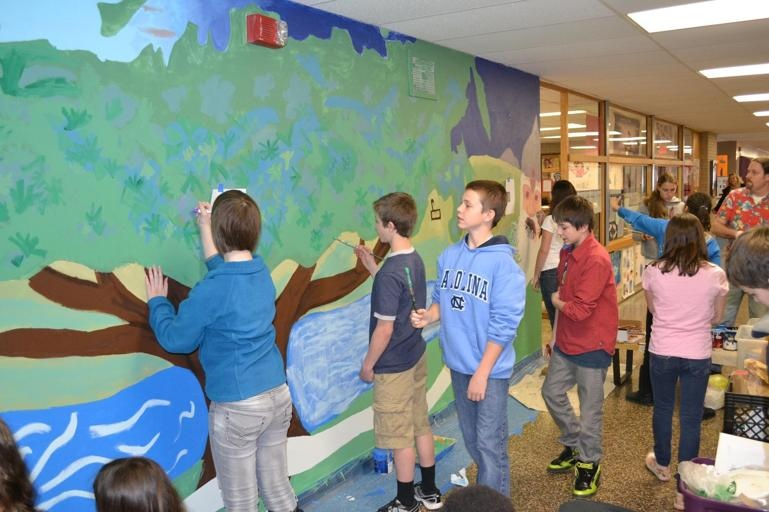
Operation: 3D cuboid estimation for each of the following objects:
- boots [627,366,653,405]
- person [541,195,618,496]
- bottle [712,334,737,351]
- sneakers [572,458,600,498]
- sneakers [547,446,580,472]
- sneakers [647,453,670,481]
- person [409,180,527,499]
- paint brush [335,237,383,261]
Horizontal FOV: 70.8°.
[{"bbox_3d":[2.546,1.290,5.480,0.204,0.381,0.302,-4,12,-5],"label":"boots"},{"bbox_3d":[1.470,0.669,4.130,0.520,2.197,0.710,3,13,23],"label":"person"},{"bbox_3d":[3.172,0.792,5.102,0.200,0.168,0.226,-1,-4,17],"label":"bottle"},{"bbox_3d":[1.508,1.701,4.087,0.121,0.152,0.332,-6,1,24],"label":"sneakers"},{"bbox_3d":[1.445,1.661,4.417,0.323,0.139,0.115,-3,4,-38],"label":"sneakers"},{"bbox_3d":[2.122,1.657,4.206,0.094,0.191,0.186,-14,-36,-3],"label":"sneakers"},{"bbox_3d":[0.599,0.534,3.522,0.490,2.010,0.601,-14,16,-42],"label":"person"},{"bbox_3d":[-0.229,-0.059,4.298,0.366,0.015,0.063,24,-15,-24],"label":"paint brush"}]
